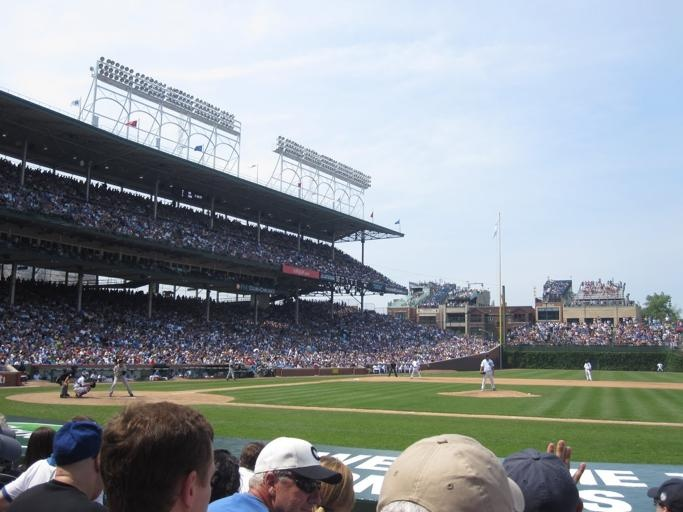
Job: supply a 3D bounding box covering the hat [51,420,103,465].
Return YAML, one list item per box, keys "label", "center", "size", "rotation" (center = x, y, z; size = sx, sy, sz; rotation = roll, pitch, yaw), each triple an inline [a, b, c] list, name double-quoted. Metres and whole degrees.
- label: "hat"
  center: [-5.825, 4.125, 17.197]
  size: [0.810, 0.730, 1.150]
  rotation: [3, 20, 2]
